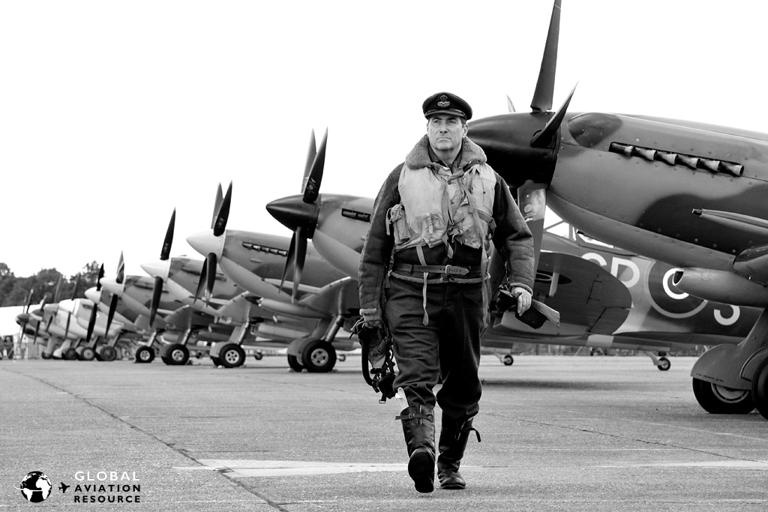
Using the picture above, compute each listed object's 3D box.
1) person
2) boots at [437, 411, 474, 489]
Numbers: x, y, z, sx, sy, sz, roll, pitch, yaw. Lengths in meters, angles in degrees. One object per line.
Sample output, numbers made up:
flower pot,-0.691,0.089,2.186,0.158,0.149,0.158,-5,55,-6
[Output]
person,0.397,0.193,4.338,1.116,2.505,0.554,6,-5,-3
boots,0.471,1.251,4.374,0.236,0.437,0.382,5,-5,8
